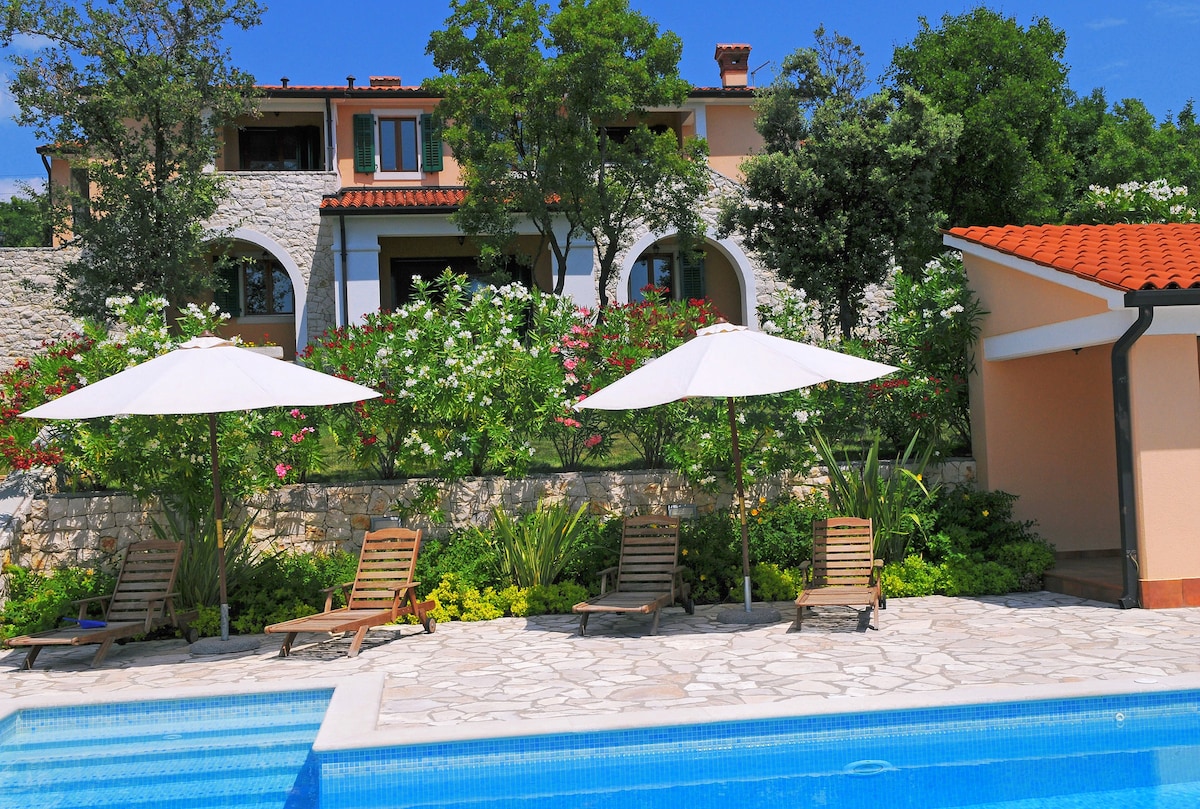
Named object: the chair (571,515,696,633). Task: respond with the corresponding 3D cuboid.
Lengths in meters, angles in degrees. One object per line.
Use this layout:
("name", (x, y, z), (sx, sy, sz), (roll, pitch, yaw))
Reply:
("chair", (0.599, 2.593, 18.770), (1.383, 1.569, 2.586), (-3, -3, 17))

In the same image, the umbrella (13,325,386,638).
("umbrella", (-5.617, 1.207, 17.245), (4.366, 4.381, 4.611), (1, -5, -2))

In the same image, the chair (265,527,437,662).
("chair", (-3.779, 2.754, 18.158), (1.348, 1.696, 2.668), (-5, -3, 25))
